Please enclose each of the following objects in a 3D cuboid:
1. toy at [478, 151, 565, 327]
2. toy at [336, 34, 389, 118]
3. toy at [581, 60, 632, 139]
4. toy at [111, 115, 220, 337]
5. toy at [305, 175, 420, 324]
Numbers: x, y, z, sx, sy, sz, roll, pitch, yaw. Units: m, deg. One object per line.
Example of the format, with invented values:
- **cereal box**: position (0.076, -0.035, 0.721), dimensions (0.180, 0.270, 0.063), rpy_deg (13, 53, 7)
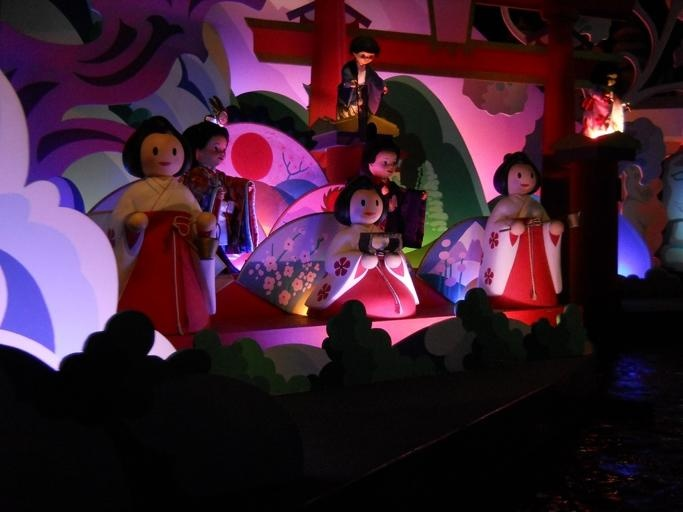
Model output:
- **toy**: position (1.570, -0.183, 5.040), dimensions (0.736, 1.502, 0.443), rpy_deg (-3, -3, 13)
- **toy**: position (0.168, -1.581, 5.049), dimensions (0.363, 0.805, 0.480), rpy_deg (-3, -3, 19)
- **toy**: position (2.631, -1.547, 5.713), dimensions (0.415, 0.657, 0.388), rpy_deg (-3, -3, 11)
- **toy**: position (-1.140, -0.215, 3.690), dimensions (0.634, 1.429, 0.331), rpy_deg (-1, -3, -15)
- **toy**: position (0.186, -0.093, 4.421), dimensions (0.817, 1.113, 0.929), rpy_deg (1, 1, -20)
